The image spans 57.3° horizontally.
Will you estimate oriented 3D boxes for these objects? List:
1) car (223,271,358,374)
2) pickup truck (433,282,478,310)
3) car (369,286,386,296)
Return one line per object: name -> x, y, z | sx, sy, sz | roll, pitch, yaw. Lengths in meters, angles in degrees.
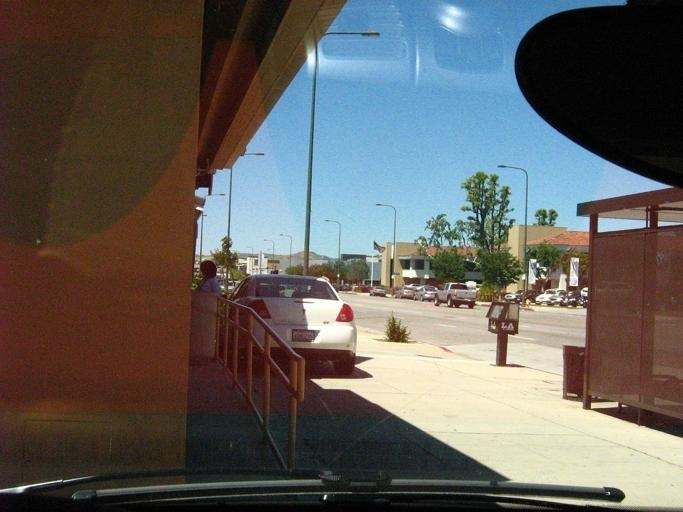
car -> -0.592, 1.010, 10.304 | 1.113, 1.015, 2.585 | 2, 4, -10
pickup truck -> 9.243, 3.092, 50.329 | 1.586, 1.589, 3.780 | 1, 4, -13
car -> 4.701, 4.424, 80.920 | 1.360, 1.408, 3.317 | 5, -6, -13
